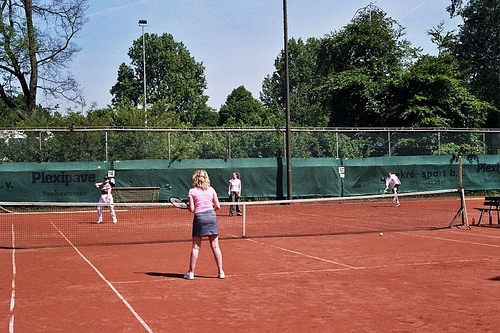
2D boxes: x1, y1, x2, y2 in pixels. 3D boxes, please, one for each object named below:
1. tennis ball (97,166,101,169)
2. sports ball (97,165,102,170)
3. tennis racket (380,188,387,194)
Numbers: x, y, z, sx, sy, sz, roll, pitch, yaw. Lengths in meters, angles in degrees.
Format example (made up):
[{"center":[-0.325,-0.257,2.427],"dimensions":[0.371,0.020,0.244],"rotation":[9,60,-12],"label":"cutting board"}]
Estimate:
[{"center":[-9.176,0.055,35.256],"dimensions":[0.151,0.115,0.195],"rotation":[0,-1,4],"label":"tennis ball"},{"center":[-9.156,0.074,35.216],"dimensions":[0.155,0.208,0.164],"rotation":[9,1,0],"label":"sports ball"},{"center":[8.435,1.563,36.745],"dimensions":[0.424,0.356,0.421],"rotation":[1,-2,7],"label":"tennis racket"}]
